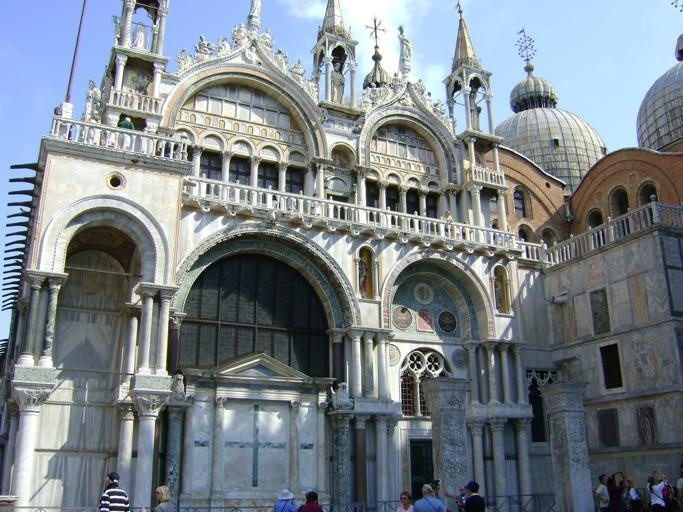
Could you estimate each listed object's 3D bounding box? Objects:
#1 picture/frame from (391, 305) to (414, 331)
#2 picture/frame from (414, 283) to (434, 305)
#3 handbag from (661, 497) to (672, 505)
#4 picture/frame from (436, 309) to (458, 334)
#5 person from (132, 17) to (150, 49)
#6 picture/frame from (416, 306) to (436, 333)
[{"bbox_3d":[2.853,2.951,30.919,0.967,0.994,0.067,-27,-7,-37],"label":"picture/frame"},{"bbox_3d":[4.022,1.823,31.841,0.943,1.001,0.196,5,-13,-26],"label":"picture/frame"},{"bbox_3d":[10.248,7.661,20.392,0.126,0.371,0.833,-14,-25,32],"label":"handbag"},{"bbox_3d":[5.105,3.218,31.831,1.247,1.304,0.074,-2,-26,-38],"label":"picture/frame"},{"bbox_3d":[-9.187,-10.165,29.817,0.682,1.619,1.153,9,-23,-25],"label":"person"},{"bbox_3d":[4.027,3.078,31.394,1.092,1.321,0.174,12,-34,-23],"label":"picture/frame"}]
